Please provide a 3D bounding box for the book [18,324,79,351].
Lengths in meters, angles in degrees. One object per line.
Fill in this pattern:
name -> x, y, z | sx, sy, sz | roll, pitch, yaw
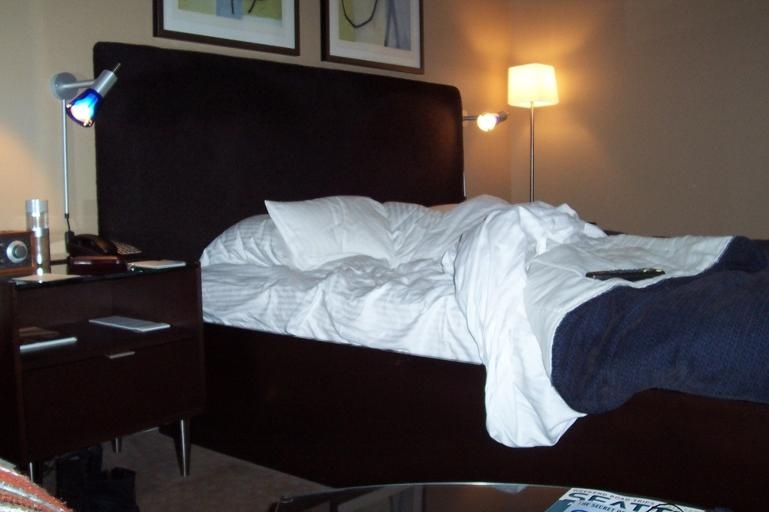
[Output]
book -> -1.281, 0.305, 2.305 | 0.187, 0.043, 0.336 | -6, 10, -31

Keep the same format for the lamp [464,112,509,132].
lamp -> 0.764, -0.954, 4.380 | 0.184, 0.129, 0.331 | 35, 33, 28

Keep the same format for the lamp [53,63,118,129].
lamp -> -1.288, -0.676, 2.575 | 0.185, 0.243, 0.386 | -9, 12, -41

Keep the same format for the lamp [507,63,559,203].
lamp -> 1.140, -0.954, 4.592 | 0.366, 1.082, 0.591 | 2, 9, 16

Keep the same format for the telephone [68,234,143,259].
telephone -> -1.213, -0.037, 2.570 | 0.200, 0.078, 0.154 | 2, 4, 6
